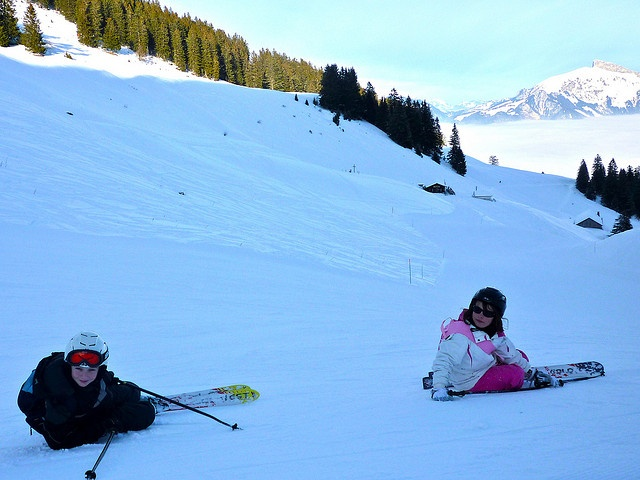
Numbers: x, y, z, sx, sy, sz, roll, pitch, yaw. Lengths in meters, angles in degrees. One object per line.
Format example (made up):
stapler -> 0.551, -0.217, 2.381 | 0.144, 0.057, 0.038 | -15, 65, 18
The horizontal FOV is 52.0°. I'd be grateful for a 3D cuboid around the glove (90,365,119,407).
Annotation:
glove -> -4.563, 3.070, 13.758 | 0.307, 0.726, 0.589 | -3, -36, 48
